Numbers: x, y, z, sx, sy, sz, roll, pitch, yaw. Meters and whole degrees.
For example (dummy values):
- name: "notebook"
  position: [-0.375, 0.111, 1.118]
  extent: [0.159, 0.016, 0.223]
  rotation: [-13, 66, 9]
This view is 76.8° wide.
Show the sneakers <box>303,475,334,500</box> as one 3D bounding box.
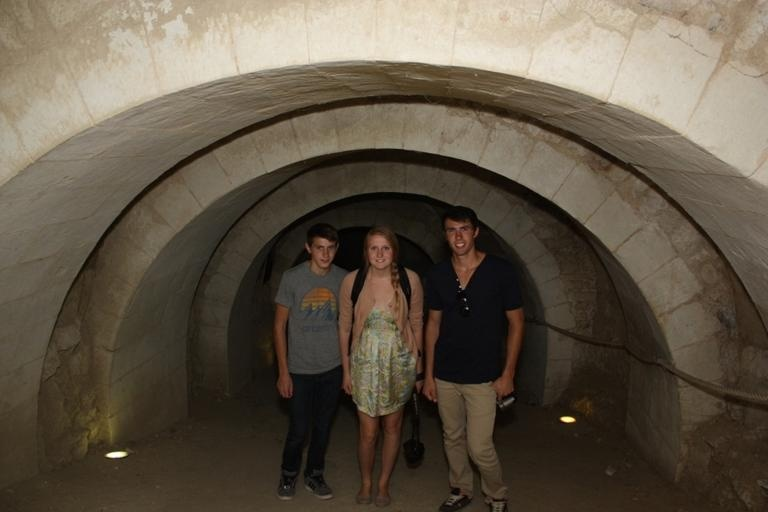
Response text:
- name: "sneakers"
  position: [-0.566, 1.980, 4.177]
  extent: [0.135, 0.127, 0.281]
  rotation: [4, -3, -35]

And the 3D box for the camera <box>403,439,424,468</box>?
- name: "camera"
  position: [0.281, 1.890, 4.729]
  extent: [0.187, 0.245, 0.248]
  rotation: [5, 17, 3]

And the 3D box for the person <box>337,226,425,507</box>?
- name: "person"
  position: [-0.047, 0.930, 3.832]
  extent: [0.670, 2.316, 0.332]
  rotation: [2, 2, 3]
